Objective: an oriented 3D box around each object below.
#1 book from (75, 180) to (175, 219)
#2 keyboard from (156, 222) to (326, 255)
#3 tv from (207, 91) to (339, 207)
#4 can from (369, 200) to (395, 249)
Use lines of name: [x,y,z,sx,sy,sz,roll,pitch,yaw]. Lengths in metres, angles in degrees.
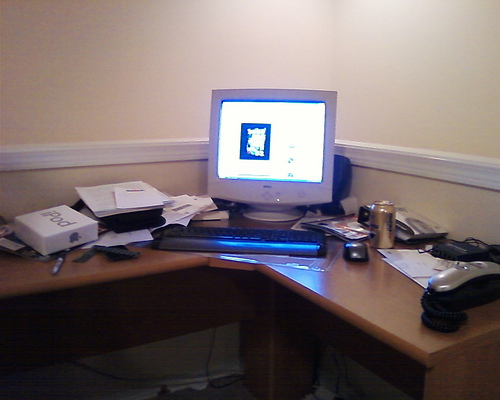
book: [-0.497,-0.002,1.622,0.297,0.079,0.271,-9,20,-30]
keyboard: [-0.038,0.136,1.499,0.613,0.040,0.218,2,17,3]
tv: [0.097,-0.228,1.747,0.656,0.394,0.307,4,10,5]
can: [0.456,0.087,1.479,0.110,0.152,0.082,-2,19,-19]
